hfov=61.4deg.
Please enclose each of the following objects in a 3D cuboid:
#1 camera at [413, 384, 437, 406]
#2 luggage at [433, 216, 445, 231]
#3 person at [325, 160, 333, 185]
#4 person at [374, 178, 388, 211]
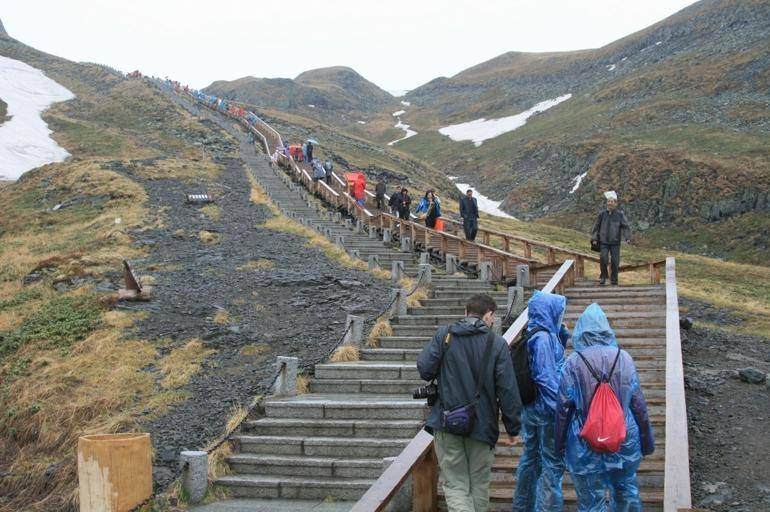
[{"bbox_3d":[0.630,2.098,9.836,0.389,0.281,0.493,0,-6,5],"label":"camera"},{"bbox_3d":[2.088,-1.202,24.775,0.403,0.556,0.405,-14,19,2],"label":"luggage"},{"bbox_3d":[-3.320,-4.877,38.034,0.516,1.169,1.344,-15,18,-1],"label":"person"},{"bbox_3d":[-0.218,-2.938,30.745,0.648,1.541,1.221,-15,18,0],"label":"person"}]
